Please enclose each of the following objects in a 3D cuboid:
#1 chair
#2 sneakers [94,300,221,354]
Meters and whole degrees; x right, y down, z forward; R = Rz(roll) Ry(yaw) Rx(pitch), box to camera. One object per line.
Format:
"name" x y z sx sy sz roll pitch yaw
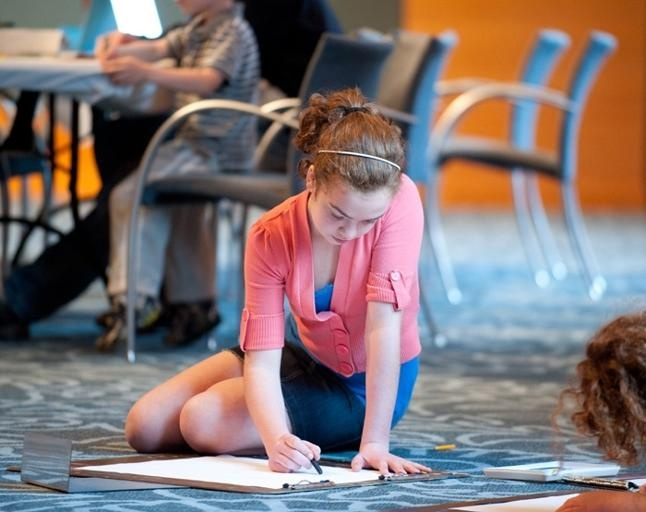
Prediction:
"chair" 0.152 -0.274 2.954 1.951 1.276 1.135 1 2 3
"sneakers" -0.518 0.229 2.658 0.475 0.185 0.154 9 -9 -37
